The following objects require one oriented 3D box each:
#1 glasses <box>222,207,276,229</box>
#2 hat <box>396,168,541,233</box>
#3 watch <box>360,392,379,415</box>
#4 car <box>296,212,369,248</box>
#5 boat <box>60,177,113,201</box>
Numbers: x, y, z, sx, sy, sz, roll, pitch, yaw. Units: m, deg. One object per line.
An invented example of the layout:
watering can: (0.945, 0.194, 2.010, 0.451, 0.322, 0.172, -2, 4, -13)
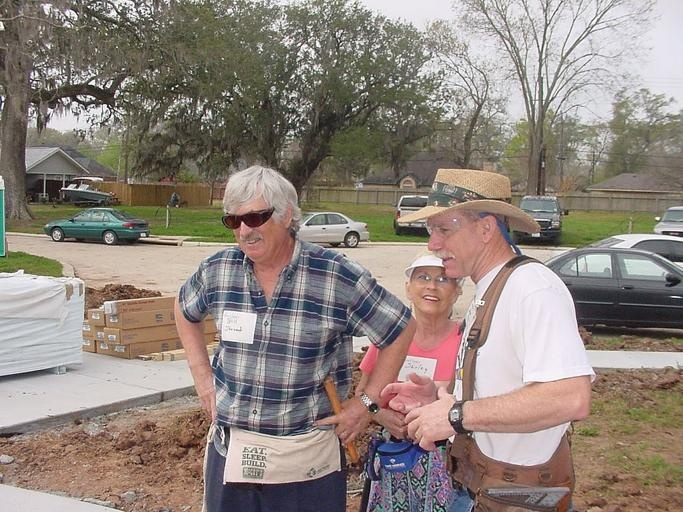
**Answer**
glasses: (-0.556, -0.213, 3.750, 0.348, 0.126, 0.163, 7, 10, 42)
hat: (0.746, -0.309, 3.765, 0.796, 0.358, 0.724, 4, 6, -10)
watch: (0.153, 0.830, 3.731, 0.097, 0.112, 0.075, 7, 38, 47)
car: (-0.447, -1.027, 26.292, 2.849, 1.066, 1.219, 3, 0, -32)
boat: (-22.157, -5.695, 56.927, 4.436, 2.230, 2.525, -7, 11, -36)
